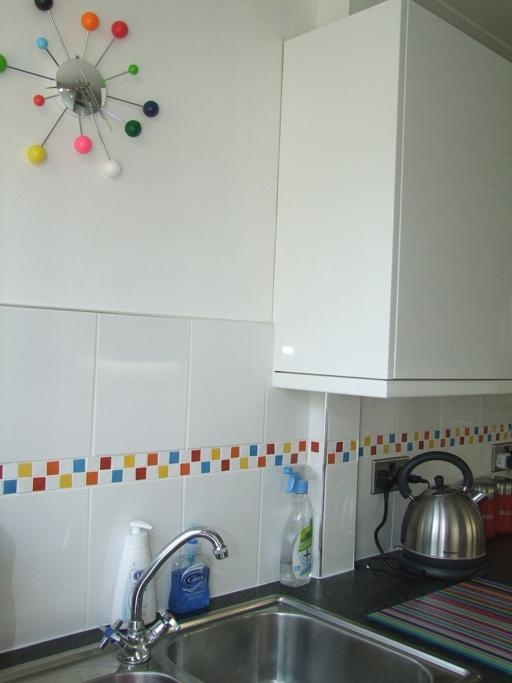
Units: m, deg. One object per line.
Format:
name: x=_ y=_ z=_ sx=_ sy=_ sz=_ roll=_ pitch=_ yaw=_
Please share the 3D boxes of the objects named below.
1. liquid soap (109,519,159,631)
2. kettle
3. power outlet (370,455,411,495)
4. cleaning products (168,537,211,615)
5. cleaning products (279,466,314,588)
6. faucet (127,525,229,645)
liquid soap: x=-0.229 y=0.433 z=1.127 sx=0.074 sy=0.202 sz=0.074 roll=3 pitch=-6 yaw=-5
kettle: x=0.470 y=0.426 z=1.499 sx=0.223 sy=0.288 sz=0.140 roll=2 pitch=-1 yaw=8
power outlet: x=0.354 y=0.348 z=1.587 sx=0.105 sy=0.096 sz=0.025 roll=6 pitch=-6 yaw=-39
cleaning products: x=-0.135 y=0.485 z=1.241 sx=0.090 sy=0.149 sz=0.037 roll=0 pitch=3 yaw=-25
cleaning products: x=0.094 y=0.434 z=1.419 sx=0.078 sy=0.272 sz=0.077 roll=4 pitch=-4 yaw=-40
faucet: x=-0.141 y=0.425 z=1.050 sx=0.170 sy=0.151 sz=0.043 roll=2 pitch=-1 yaw=4
